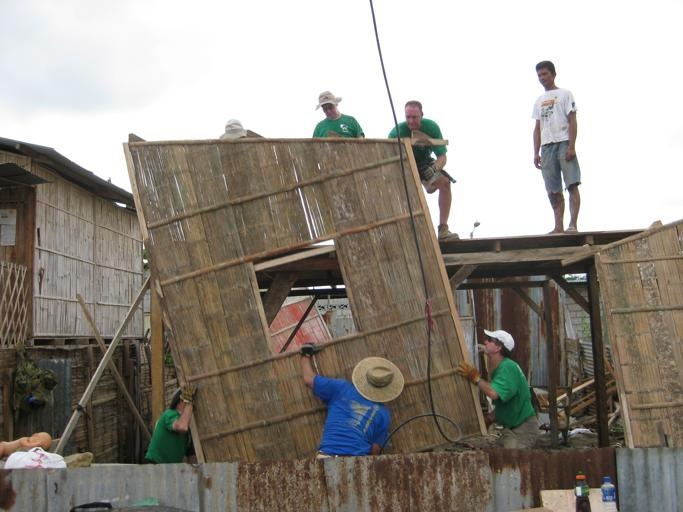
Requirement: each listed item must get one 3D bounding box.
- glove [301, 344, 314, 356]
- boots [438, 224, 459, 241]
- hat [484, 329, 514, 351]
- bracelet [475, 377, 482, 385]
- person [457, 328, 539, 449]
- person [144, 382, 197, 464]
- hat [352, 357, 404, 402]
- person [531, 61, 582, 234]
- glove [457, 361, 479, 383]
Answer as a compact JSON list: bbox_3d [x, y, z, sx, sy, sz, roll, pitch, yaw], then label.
[{"bbox_3d":[-0.471,1.300,12.523,0.137,0.145,0.142,1,-4,5],"label":"glove"},{"bbox_3d":[1.645,-0.379,14.213,0.195,0.298,0.266,6,-16,-43],"label":"boots"},{"bbox_3d":[2.335,1.202,13.420,0.416,0.241,0.297,28,6,8],"label":"hat"},{"bbox_3d":[1.900,1.743,12.632,0.061,0.107,0.068,3,-1,22],"label":"bracelet"},{"bbox_3d":[2.340,2.314,13.351,1.080,2.403,0.927,-1,-7,-10],"label":"person"},{"bbox_3d":[-2.346,2.333,12.536,0.719,1.045,0.813,0,-13,-21],"label":"person"},{"bbox_3d":[0.522,1.621,12.439,0.685,0.796,0.192,8,-50,-4],"label":"hat"},{"bbox_3d":[3.418,-1.696,14.583,0.387,2.822,0.860,2,-12,-28],"label":"person"},{"bbox_3d":[1.789,1.639,12.761,0.196,0.316,0.098,-47,-15,1],"label":"glove"}]
